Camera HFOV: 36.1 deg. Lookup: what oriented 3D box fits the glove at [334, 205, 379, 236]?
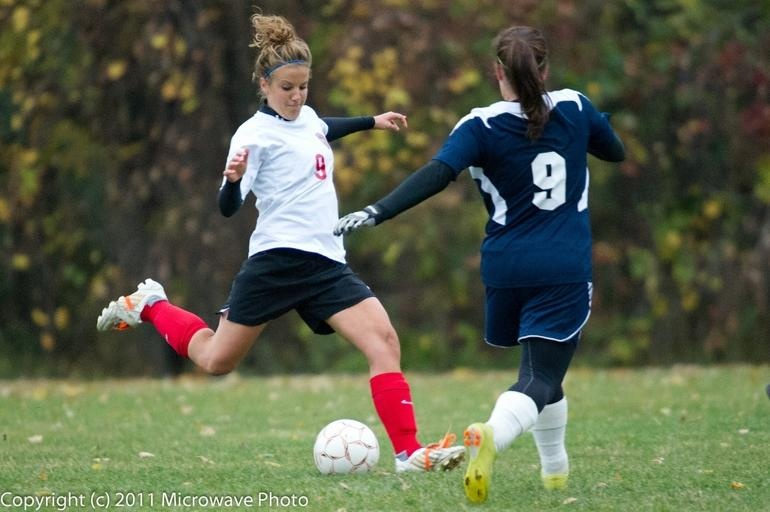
[{"bbox_3d":[-0.250,-0.279,10.079,0.336,0.154,0.210,-13,33,-13],"label":"glove"}]
